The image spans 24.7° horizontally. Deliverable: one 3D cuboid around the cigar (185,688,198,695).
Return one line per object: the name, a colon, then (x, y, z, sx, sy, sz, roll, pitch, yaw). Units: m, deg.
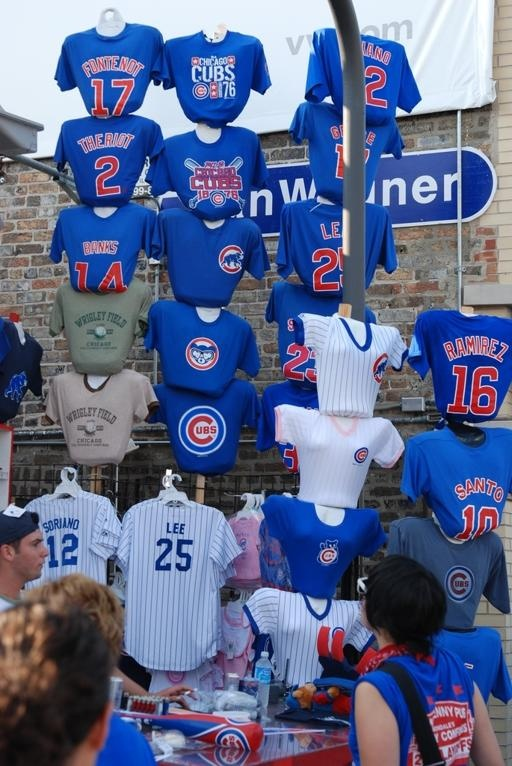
cigar: (-0.195, 0.934, 3.535, 0.034, 0.012, 0.047, -2, -20, -2)

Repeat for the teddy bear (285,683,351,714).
teddy bear: (0.194, 0.992, 3.674, 0.230, 0.103, 0.085, 2, 5, 23)

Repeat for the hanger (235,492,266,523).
hanger: (-0.026, 0.526, 5.049, 0.110, 0.108, 0.260, 0, 4, -1)

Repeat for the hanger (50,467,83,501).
hanger: (-0.817, 0.438, 5.084, 0.121, 0.177, 0.392, 0, 4, -10)
